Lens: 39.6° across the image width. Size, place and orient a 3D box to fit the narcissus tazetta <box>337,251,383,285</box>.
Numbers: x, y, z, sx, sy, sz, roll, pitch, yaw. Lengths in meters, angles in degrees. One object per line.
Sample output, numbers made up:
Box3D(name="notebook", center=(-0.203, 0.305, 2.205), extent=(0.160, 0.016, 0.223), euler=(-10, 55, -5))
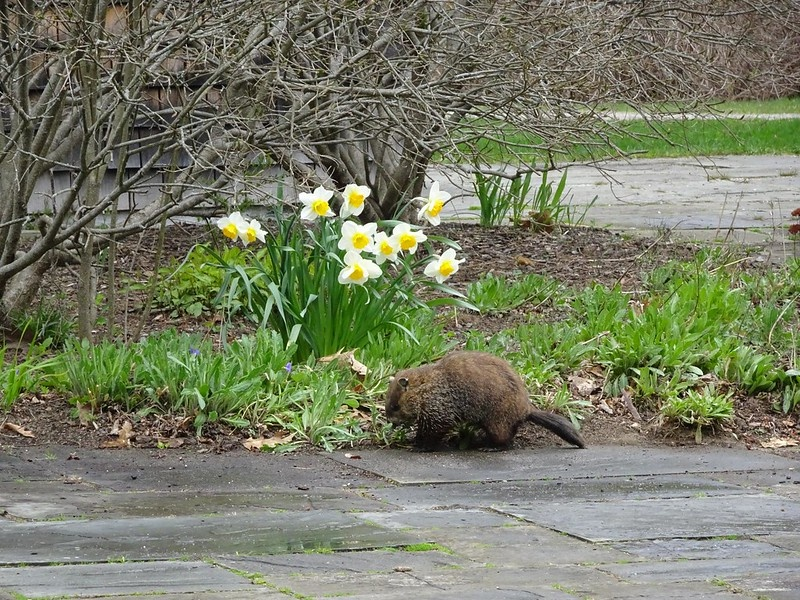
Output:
Box3D(name="narcissus tazetta", center=(-0.268, -0.199, 7.364), extent=(0.265, 0.259, 0.369), euler=(2, 9, -6))

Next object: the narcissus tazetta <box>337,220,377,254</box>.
Box3D(name="narcissus tazetta", center=(-0.284, -0.410, 7.383), extent=(0.246, 0.224, 0.328), euler=(2, 9, -4))

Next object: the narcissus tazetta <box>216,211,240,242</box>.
Box3D(name="narcissus tazetta", center=(-1.184, -0.509, 7.682), extent=(0.148, 0.202, 0.360), euler=(1, 9, -13))

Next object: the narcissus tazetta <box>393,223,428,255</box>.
Box3D(name="narcissus tazetta", center=(0.076, -0.407, 7.535), extent=(0.211, 0.240, 0.455), euler=(4, 9, 8))

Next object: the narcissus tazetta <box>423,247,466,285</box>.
Box3D(name="narcissus tazetta", center=(0.334, -0.254, 7.477), extent=(0.296, 0.216, 0.107), euler=(-31, 53, -32))

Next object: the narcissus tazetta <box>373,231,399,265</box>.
Box3D(name="narcissus tazetta", center=(-0.120, -0.333, 7.402), extent=(0.206, 0.192, 0.071), euler=(-5, 25, -26))

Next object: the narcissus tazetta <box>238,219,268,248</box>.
Box3D(name="narcissus tazetta", center=(-1.017, -0.469, 7.657), extent=(0.216, 0.192, 0.107), euler=(8, 39, 9))

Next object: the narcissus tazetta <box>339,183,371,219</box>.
Box3D(name="narcissus tazetta", center=(-0.375, -0.680, 7.583), extent=(0.271, 0.240, 0.092), euler=(-3, 40, -50))
